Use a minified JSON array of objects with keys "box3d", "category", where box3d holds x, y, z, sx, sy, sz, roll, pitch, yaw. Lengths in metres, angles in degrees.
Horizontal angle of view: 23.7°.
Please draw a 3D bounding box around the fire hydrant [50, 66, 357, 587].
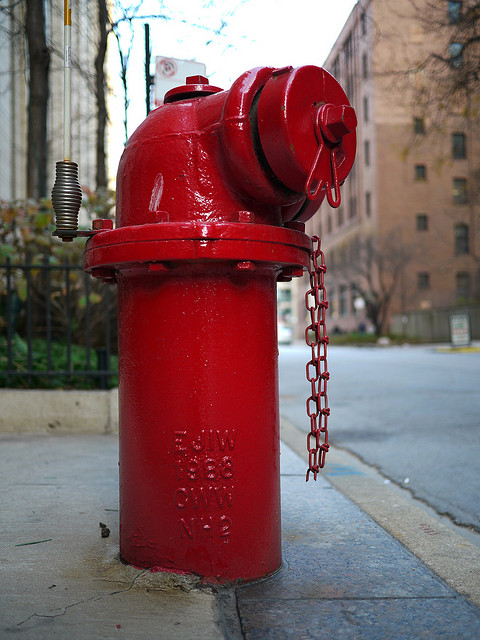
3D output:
[{"box3d":[-0.121,0.001,4.573,1.085,2.017,0.525,3,9,5],"category":"fire hydrant"}]
